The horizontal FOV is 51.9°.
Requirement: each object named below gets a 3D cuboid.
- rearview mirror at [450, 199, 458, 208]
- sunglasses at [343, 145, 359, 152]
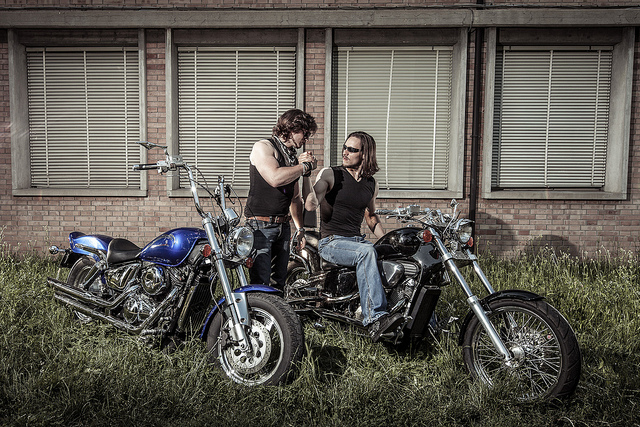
[{"bbox_3d":[1.574,-0.117,7.774,0.051,0.092,0.107,4,9,12],"label":"rearview mirror"},{"bbox_3d":[0.389,-0.822,8.305,0.197,0.082,0.049,5,8,10],"label":"sunglasses"}]
